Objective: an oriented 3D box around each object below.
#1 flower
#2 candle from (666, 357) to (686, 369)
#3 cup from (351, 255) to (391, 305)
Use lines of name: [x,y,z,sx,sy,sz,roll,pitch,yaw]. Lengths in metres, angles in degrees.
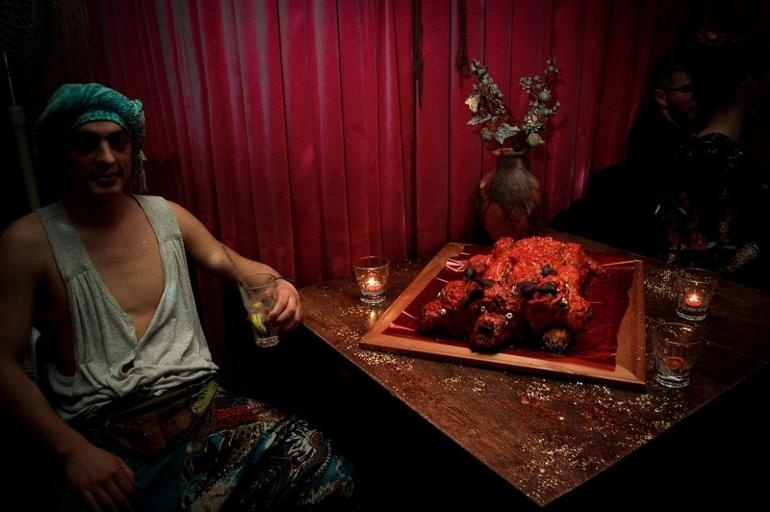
flower: [0.572,-0.688,2.318,0.401,0.430,0.555,6,31,14]
candle: [0.820,0.302,1.440,0.035,0.015,0.038,1,1,2]
cup: [-0.045,0.086,1.841,0.150,0.171,0.159,-1,9,0]
